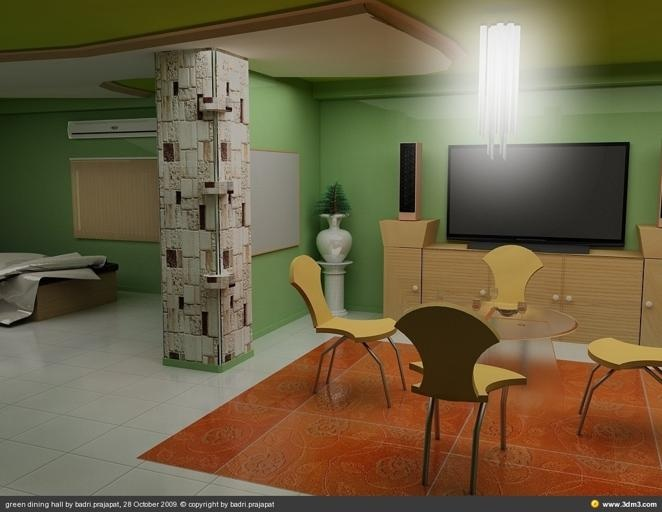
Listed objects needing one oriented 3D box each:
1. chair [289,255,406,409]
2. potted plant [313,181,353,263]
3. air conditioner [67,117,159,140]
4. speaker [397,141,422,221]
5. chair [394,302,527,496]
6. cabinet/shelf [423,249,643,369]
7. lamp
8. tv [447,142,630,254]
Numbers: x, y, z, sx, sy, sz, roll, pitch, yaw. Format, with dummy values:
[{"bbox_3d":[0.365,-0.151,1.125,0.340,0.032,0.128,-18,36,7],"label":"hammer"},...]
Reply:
[{"bbox_3d":[0.154,0.616,4.130,0.992,1.053,0.812,6,6,24],"label":"chair"},{"bbox_3d":[0.062,-0.453,6.485,0.510,1.105,0.629,0,9,0],"label":"potted plant"},{"bbox_3d":[-3.385,-2.005,7.436,1.574,0.319,0.250,1,39,6],"label":"air conditioner"},{"bbox_3d":[1.026,-0.955,6.069,0.279,0.992,0.317,1,10,7],"label":"speaker"},{"bbox_3d":[0.764,0.783,2.880,0.546,1.107,0.670,5,11,30],"label":"chair"},{"bbox_3d":[2.057,0.495,4.417,1.381,0.648,0.388,1,1,22],"label":"cabinet/shelf"},{"bbox_3d":[1.355,-1.329,3.847,0.325,0.986,0.347,3,10,18],"label":"lamp"},{"bbox_3d":[2.583,-0.697,5.666,1.564,0.887,0.385,3,11,22],"label":"tv"}]
